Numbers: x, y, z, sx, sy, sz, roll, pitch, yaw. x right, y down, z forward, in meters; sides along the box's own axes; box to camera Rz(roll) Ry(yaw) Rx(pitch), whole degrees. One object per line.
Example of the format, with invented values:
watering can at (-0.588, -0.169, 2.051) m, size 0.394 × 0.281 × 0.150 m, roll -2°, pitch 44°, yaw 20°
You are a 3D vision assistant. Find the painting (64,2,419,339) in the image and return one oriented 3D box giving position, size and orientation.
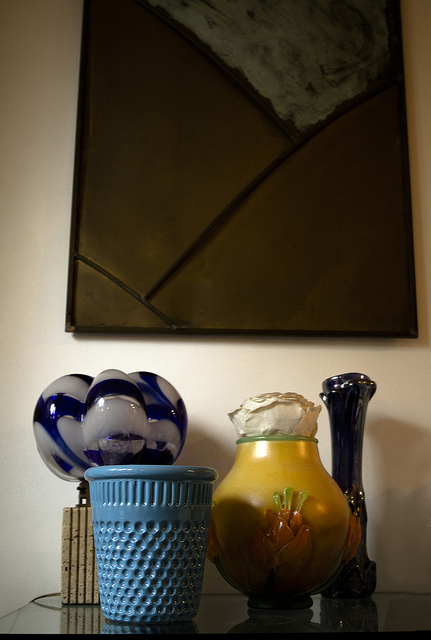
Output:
painting at (0.025, -0.204, 0.978) m, size 0.567 × 0.568 × 0.021 m, roll 0°, pitch -9°, yaw 0°

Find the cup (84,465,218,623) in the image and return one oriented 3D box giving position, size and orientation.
cup at (-0.064, 0.224, 0.658) m, size 0.144 × 0.146 × 0.146 m, roll -1°, pitch -15°, yaw 0°

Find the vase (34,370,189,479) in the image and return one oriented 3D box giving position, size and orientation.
vase at (-0.104, 0.106, 0.677) m, size 0.127 × 0.072 × 0.125 m, roll -6°, pitch -18°, yaw 15°

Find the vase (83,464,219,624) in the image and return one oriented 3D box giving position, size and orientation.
vase at (-0.068, 0.230, 0.685) m, size 0.145 × 0.144 × 0.143 m, roll -15°, pitch -24°, yaw 37°

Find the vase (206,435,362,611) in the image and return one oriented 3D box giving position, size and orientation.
vase at (0.067, 0.233, 0.761) m, size 0.196 × 0.181 × 0.180 m, roll 8°, pitch -18°, yaw -22°
